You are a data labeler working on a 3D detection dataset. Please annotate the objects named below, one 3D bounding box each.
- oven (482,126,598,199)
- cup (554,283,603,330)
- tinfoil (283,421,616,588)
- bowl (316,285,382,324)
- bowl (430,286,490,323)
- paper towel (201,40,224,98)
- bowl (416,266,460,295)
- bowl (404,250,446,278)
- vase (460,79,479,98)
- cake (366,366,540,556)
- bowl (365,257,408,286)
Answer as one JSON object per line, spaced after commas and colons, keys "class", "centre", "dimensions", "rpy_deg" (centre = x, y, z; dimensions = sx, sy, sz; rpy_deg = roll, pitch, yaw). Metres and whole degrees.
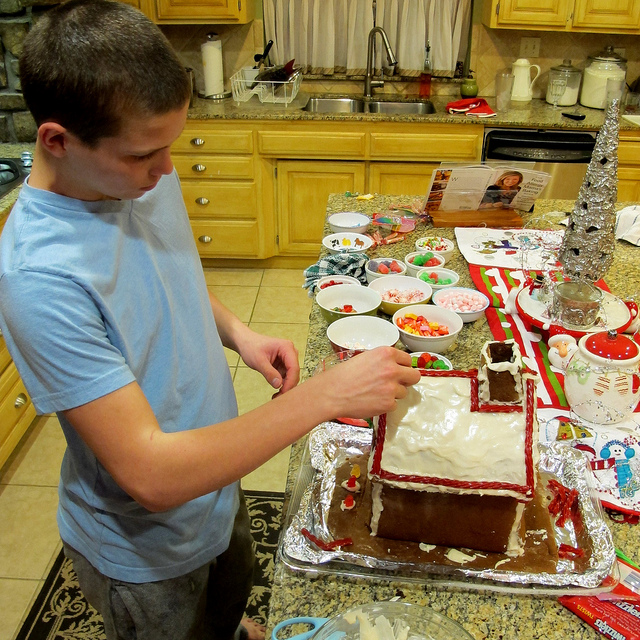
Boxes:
{"class": "oven", "centre": [1.350, -0.974, 3.566], "dimensions": [0.652, 0.361, 0.317], "rpy_deg": [0, 18, -3]}
{"class": "cup", "centre": [0.714, -0.036, 1.605], "dimensions": [0.135, 0.130, 0.136], "rpy_deg": [-5, 35, 4]}
{"class": "tinfoil", "centre": [0.232, 0.324, 1.025], "dimensions": [0.557, 0.037, 0.356], "rpy_deg": [4, 29, 7]}
{"class": "bowl", "centre": [0.085, -0.064, 1.624], "dimensions": [0.158, 0.061, 0.140], "rpy_deg": [1, 33, 2]}
{"class": "bowl", "centre": [0.435, -0.063, 1.692], "dimensions": [0.145, 0.049, 0.129], "rpy_deg": [1, 27, -2]}
{"class": "paper towel", "centre": [-0.736, -1.734, 3.783], "dimensions": [0.157, 0.347, 0.146], "rpy_deg": [-15, 25, -26]}
{"class": "bowl", "centre": [0.385, -0.143, 1.822], "dimensions": [0.123, 0.041, 0.109], "rpy_deg": [0, 30, -1]}
{"class": "bowl", "centre": [0.360, -0.213, 1.912], "dimensions": [0.121, 0.052, 0.109], "rpy_deg": [0, 26, 2]}
{"class": "vase", "centre": [1.007, -1.605, 3.784], "dimensions": [0.142, 0.138, 0.126], "rpy_deg": [0, 28, -1]}
{"class": "cake", "centre": [0.236, 0.229, 0.985], "dimensions": [0.345, 0.262, 0.320], "rpy_deg": [-1, 22, -5]}
{"class": "bowl", "centre": [0.214, -0.172, 1.834], "dimensions": [0.113, 0.044, 0.104], "rpy_deg": [-2, 26, 1]}
